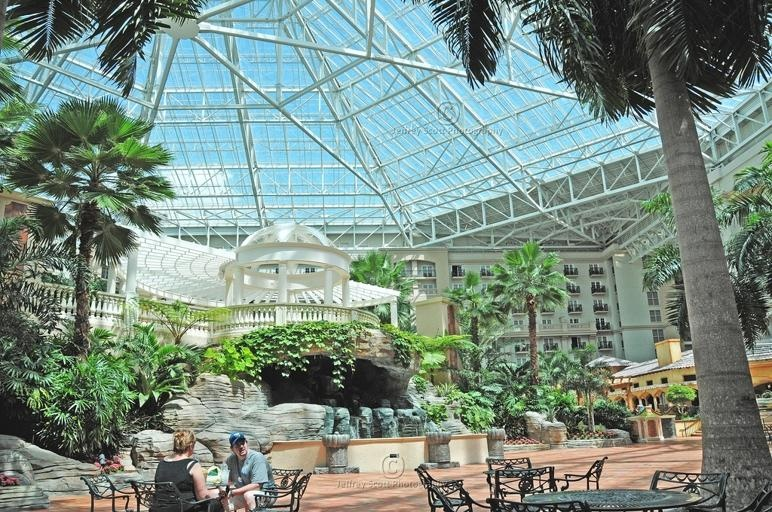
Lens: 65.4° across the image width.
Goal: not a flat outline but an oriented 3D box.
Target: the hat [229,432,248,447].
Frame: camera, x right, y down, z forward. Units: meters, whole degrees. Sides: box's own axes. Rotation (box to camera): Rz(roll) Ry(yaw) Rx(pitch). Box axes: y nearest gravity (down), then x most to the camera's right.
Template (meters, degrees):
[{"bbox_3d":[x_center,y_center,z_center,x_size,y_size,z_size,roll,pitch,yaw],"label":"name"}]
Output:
[{"bbox_3d":[-2.056,2.554,8.349,0.191,0.174,0.170,0,-16,-9],"label":"hat"}]
